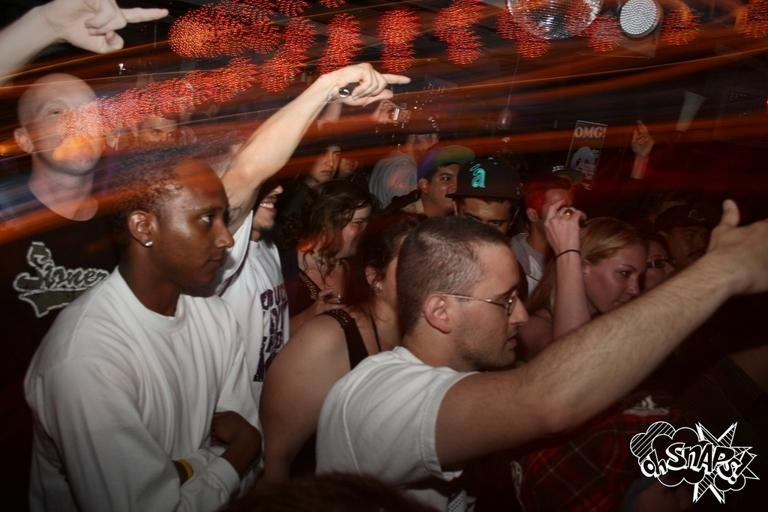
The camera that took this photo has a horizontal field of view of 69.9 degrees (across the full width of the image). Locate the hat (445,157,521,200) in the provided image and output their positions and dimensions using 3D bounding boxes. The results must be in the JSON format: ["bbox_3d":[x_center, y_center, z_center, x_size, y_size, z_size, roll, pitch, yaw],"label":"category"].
[{"bbox_3d":[0.839,-0.636,4.467,0.591,0.284,0.644,3,17,6],"label":"hat"}]
